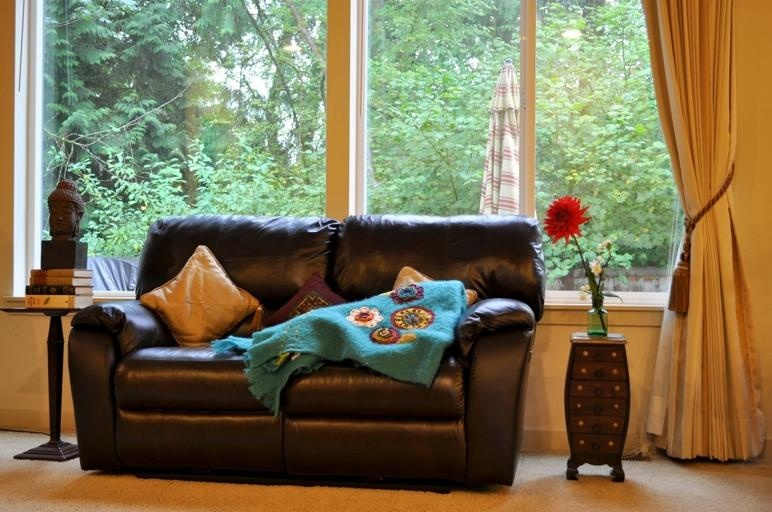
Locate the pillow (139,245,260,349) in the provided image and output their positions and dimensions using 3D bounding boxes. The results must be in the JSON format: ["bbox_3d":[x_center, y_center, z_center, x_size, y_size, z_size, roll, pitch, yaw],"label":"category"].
[{"bbox_3d":[-1.082,0.260,3.860,0.551,0.551,0.177,-42,0,-17],"label":"pillow"}]

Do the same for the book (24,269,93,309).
[{"bbox_3d":[-1.955,0.198,4.009,0.358,0.219,0.254,1,-4,-7],"label":"book"}]

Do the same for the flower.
[{"bbox_3d":[1.124,0.051,3.831,0.365,0.818,0.455,-18,22,-21],"label":"flower"}]

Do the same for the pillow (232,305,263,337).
[{"bbox_3d":[-0.806,0.391,3.991,0.183,0.181,0.163,0,0,1],"label":"pillow"}]

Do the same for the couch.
[{"bbox_3d":[-0.374,0.478,3.824,2.434,1.375,1.082,1,7,11],"label":"couch"}]
